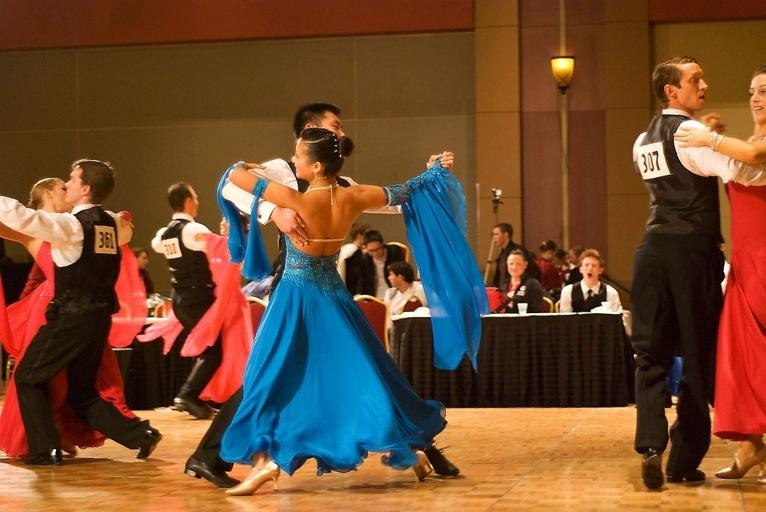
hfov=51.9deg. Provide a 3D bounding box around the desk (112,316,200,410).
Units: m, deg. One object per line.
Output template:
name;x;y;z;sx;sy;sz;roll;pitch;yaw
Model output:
desk;-2.166;0.945;7.580;0.669;0.874;0.845;-1;0;44

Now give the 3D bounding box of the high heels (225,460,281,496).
high heels;-0.710;1.200;4.322;0.289;0.195;0.143;0;1;-4

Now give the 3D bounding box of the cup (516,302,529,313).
cup;1.274;0.474;7.215;0.081;0.065;0.079;-1;-7;0

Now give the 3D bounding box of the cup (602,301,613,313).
cup;2.035;0.461;7.143;0.096;0.082;0.101;-1;-7;0

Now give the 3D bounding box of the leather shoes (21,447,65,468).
leather shoes;-2.188;1.290;5.082;0.280;0.127;0.101;2;-6;9

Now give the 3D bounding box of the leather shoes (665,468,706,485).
leather shoes;1.720;1.248;4.502;0.218;0.109;0.088;-3;2;-11

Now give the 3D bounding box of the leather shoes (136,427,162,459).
leather shoes;-1.505;1.196;5.136;0.117;0.294;0.099;8;35;-13

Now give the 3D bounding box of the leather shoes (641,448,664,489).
leather shoes;1.469;1.166;4.296;0.089;0.227;0.098;-5;12;14
